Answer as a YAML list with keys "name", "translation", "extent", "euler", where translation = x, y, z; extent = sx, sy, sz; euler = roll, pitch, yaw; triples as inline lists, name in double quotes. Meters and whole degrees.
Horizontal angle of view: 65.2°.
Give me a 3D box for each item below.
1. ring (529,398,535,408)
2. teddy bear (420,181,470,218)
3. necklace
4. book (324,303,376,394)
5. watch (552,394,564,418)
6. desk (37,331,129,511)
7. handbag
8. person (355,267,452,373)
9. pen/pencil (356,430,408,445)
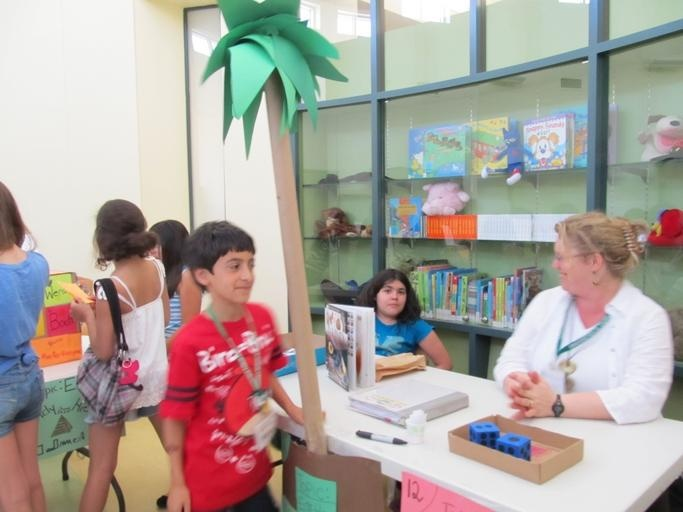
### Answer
- name: "ring"
  translation: [0.701, 0.545, 1.977]
  extent: [0.018, 0.025, 0.023]
  euler: [1, -2, 33]
- name: "teddy bear"
  translation: [0.722, -0.400, 3.742]
  extent: [0.258, 0.263, 0.378]
  euler: [-10, 8, -39]
- name: "necklace"
  translation: [0.975, 0.363, 2.165]
  extent: [0.168, 0.326, 0.161]
  euler: [10, -10, 4]
- name: "book"
  translation: [0.038, 0.402, 2.255]
  extent: [0.130, 0.335, 0.333]
  euler: [0, -1, -29]
- name: "watch"
  translation: [0.792, 0.546, 1.972]
  extent: [0.041, 0.070, 0.063]
  euler: [2, -19, 22]
- name: "desk"
  translation: [-1.430, 0.902, 3.068]
  extent: [0.633, 0.774, 0.765]
  euler: [-4, 7, -40]
- name: "handbag"
  translation: [-1.083, 0.449, 2.453]
  extent: [0.280, 0.696, 0.142]
  euler: [-1, 9, 21]
- name: "person"
  translation: [0.341, 0.366, 3.225]
  extent: [0.794, 0.727, 0.470]
  euler: [-2, 0, 5]
- name: "pen/pencil"
  translation: [0.138, 0.628, 1.840]
  extent: [0.183, 0.028, 0.022]
  euler: [5, 15, 30]
